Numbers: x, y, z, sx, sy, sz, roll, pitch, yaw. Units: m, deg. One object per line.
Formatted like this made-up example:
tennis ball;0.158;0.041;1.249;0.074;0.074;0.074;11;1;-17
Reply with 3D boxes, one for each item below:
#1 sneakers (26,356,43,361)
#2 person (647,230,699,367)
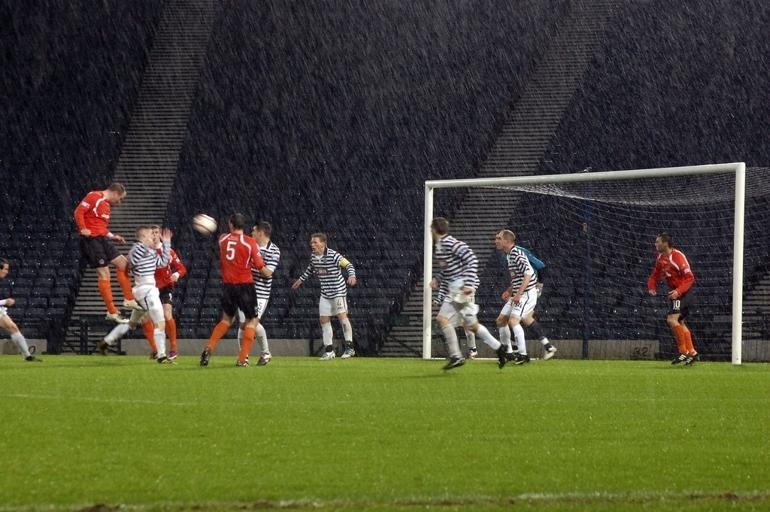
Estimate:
sneakers;-8.665;2.521;25.423;0.368;0.165;0.130;1;-1;-4
person;6.919;1.086;24.829;1.186;3.203;0.837;10;17;35
